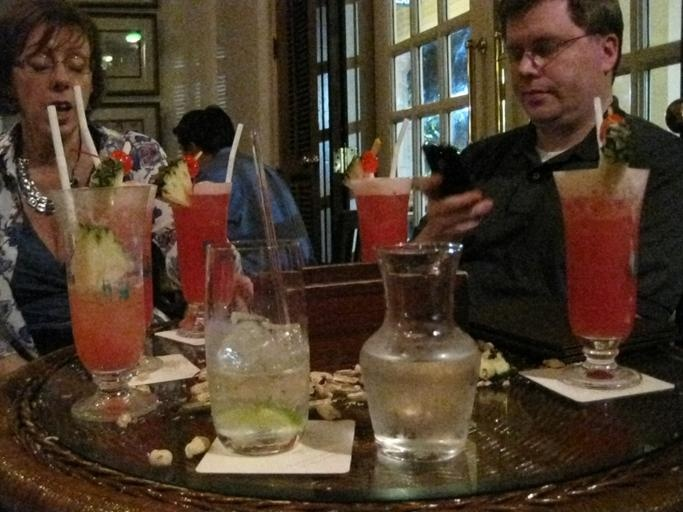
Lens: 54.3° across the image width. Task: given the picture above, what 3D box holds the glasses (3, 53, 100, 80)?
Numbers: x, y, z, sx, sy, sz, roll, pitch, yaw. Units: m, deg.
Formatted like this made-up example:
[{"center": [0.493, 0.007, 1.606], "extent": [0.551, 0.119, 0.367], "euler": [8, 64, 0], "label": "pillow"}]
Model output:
[{"center": [-0.875, -0.557, 1.950], "extent": [0.239, 0.065, 0.095], "euler": [-2, 14, 1], "label": "glasses"}]

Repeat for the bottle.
[{"center": [0.096, 0.119, 0.831], "extent": [0.146, 0.252, 0.091], "euler": [-2, 15, 3], "label": "bottle"}]
